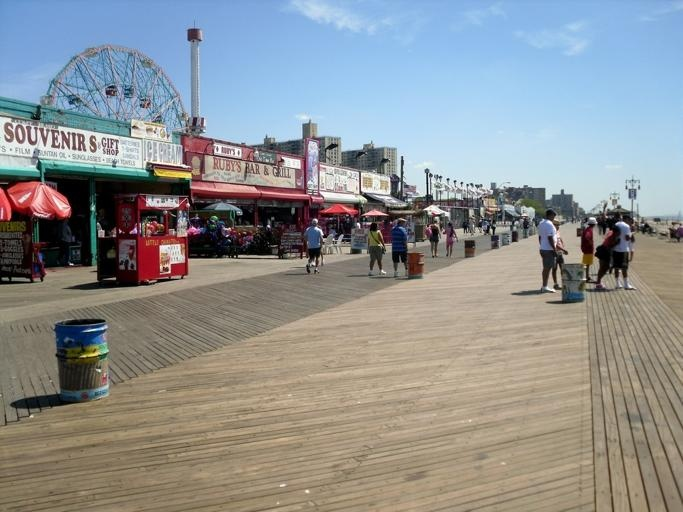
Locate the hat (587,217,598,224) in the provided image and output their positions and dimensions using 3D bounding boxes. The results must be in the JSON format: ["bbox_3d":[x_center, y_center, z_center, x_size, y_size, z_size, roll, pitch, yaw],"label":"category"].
[{"bbox_3d":[6.809,-0.966,15.990,0.197,0.104,0.291,6,11,36],"label":"hat"}]

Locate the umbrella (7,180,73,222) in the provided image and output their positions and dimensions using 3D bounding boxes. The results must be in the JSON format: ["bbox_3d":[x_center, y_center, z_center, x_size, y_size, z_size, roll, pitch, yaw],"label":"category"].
[{"bbox_3d":[-9.336,-1.718,18.110,1.747,1.116,1.074,-7,9,-44],"label":"umbrella"}]

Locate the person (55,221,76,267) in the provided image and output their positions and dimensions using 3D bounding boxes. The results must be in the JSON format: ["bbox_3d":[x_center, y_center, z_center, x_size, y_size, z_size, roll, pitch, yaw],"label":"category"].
[{"bbox_3d":[-10.277,-0.517,21.960,0.548,1.774,1.440,-3,7,-24],"label":"person"}]

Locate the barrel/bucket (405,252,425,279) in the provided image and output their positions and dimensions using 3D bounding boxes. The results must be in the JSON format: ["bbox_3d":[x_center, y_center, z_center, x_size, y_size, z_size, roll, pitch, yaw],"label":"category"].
[{"bbox_3d":[2.381,0.273,19.034,0.477,0.844,0.424,-1,7,-3],"label":"barrel/bucket"}]

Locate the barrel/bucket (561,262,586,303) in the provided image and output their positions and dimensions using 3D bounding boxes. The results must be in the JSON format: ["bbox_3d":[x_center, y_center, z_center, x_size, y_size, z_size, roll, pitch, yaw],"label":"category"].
[{"bbox_3d":[5.354,0.599,13.582,0.488,0.904,0.340,2,7,16],"label":"barrel/bucket"}]

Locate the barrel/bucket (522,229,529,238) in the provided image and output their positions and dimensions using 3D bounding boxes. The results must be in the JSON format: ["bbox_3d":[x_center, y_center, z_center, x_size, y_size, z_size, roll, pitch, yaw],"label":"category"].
[{"bbox_3d":[17.729,-2.259,56.653,0.549,1.012,1.079,0,3,20],"label":"barrel/bucket"}]

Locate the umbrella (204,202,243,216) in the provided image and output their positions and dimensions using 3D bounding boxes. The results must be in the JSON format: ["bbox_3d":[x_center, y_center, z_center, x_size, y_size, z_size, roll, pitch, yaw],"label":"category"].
[{"bbox_3d":[-6.205,-2.525,31.016,1.636,0.767,2.631,0,7,-1],"label":"umbrella"}]

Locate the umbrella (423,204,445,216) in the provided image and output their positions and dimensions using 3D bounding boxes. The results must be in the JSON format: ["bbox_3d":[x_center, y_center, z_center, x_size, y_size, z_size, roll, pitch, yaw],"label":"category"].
[{"bbox_3d":[7.881,-3.893,50.006,1.845,0.816,1.834,1,6,-6],"label":"umbrella"}]
